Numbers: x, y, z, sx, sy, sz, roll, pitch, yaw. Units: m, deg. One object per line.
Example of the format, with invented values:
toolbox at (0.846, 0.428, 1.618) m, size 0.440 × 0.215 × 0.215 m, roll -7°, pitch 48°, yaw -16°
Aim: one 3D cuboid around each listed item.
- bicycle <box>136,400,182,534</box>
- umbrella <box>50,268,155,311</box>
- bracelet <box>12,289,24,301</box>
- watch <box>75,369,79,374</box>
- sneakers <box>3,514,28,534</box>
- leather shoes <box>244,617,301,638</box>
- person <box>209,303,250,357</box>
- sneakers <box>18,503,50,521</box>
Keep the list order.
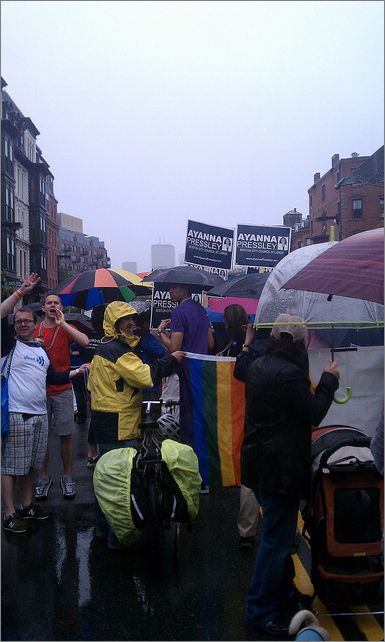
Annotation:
bicycle at (-0.234, 1.239, 3.725) m, size 0.393 × 1.133 × 1.045 m, roll 0°, pitch -4°, yaw -2°
umbrella at (-1.388, -0.455, 7.088) m, size 0.969 × 0.352 × 1.006 m, roll -6°, pitch -12°, yaw -7°
bracelet at (-1.539, -0.229, 4.274) m, size 0.123 × 0.110 × 0.069 m, roll -7°, pitch -30°, yaw 45°
watch at (-1.186, 0.519, 4.894) m, size 0.035 × 0.059 × 0.052 m, roll 5°, pitch 1°, yaw 9°
sneakers at (-1.510, 1.735, 4.097) m, size 0.249 × 0.115 × 0.111 m, roll -3°, pitch -7°, yaw 37°
leather shoes at (0.417, 1.667, 2.608) m, size 0.259 × 0.071 × 0.141 m, roll -1°, pitch -5°, yaw 11°
person at (0.472, 0.134, 6.077) m, size 0.365 × 0.998 × 0.328 m, roll 11°, pitch 28°, yaw 20°
sneakers at (-1.459, 1.764, 4.412) m, size 0.323 × 0.159 × 0.123 m, roll 6°, pitch -6°, yaw -11°
